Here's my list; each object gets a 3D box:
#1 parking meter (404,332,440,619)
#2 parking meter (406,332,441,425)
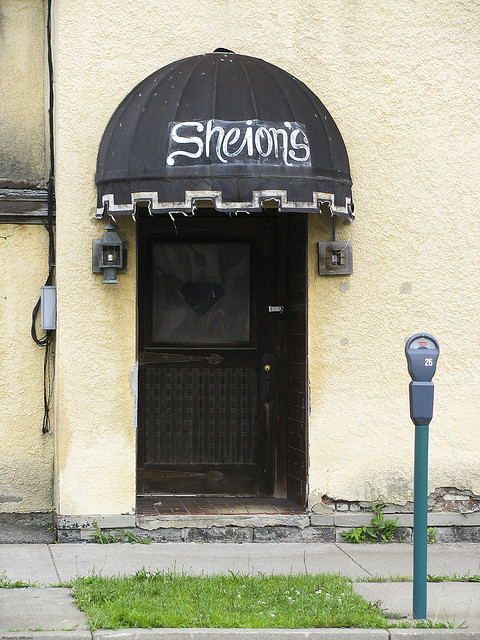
[{"bbox_3d":[1.140,1.035,6.617,0.249,1.964,0.298,2,14,17],"label":"parking meter"},{"bbox_3d":[1.131,0.374,6.468,0.194,0.605,0.106,0,-20,9],"label":"parking meter"}]
